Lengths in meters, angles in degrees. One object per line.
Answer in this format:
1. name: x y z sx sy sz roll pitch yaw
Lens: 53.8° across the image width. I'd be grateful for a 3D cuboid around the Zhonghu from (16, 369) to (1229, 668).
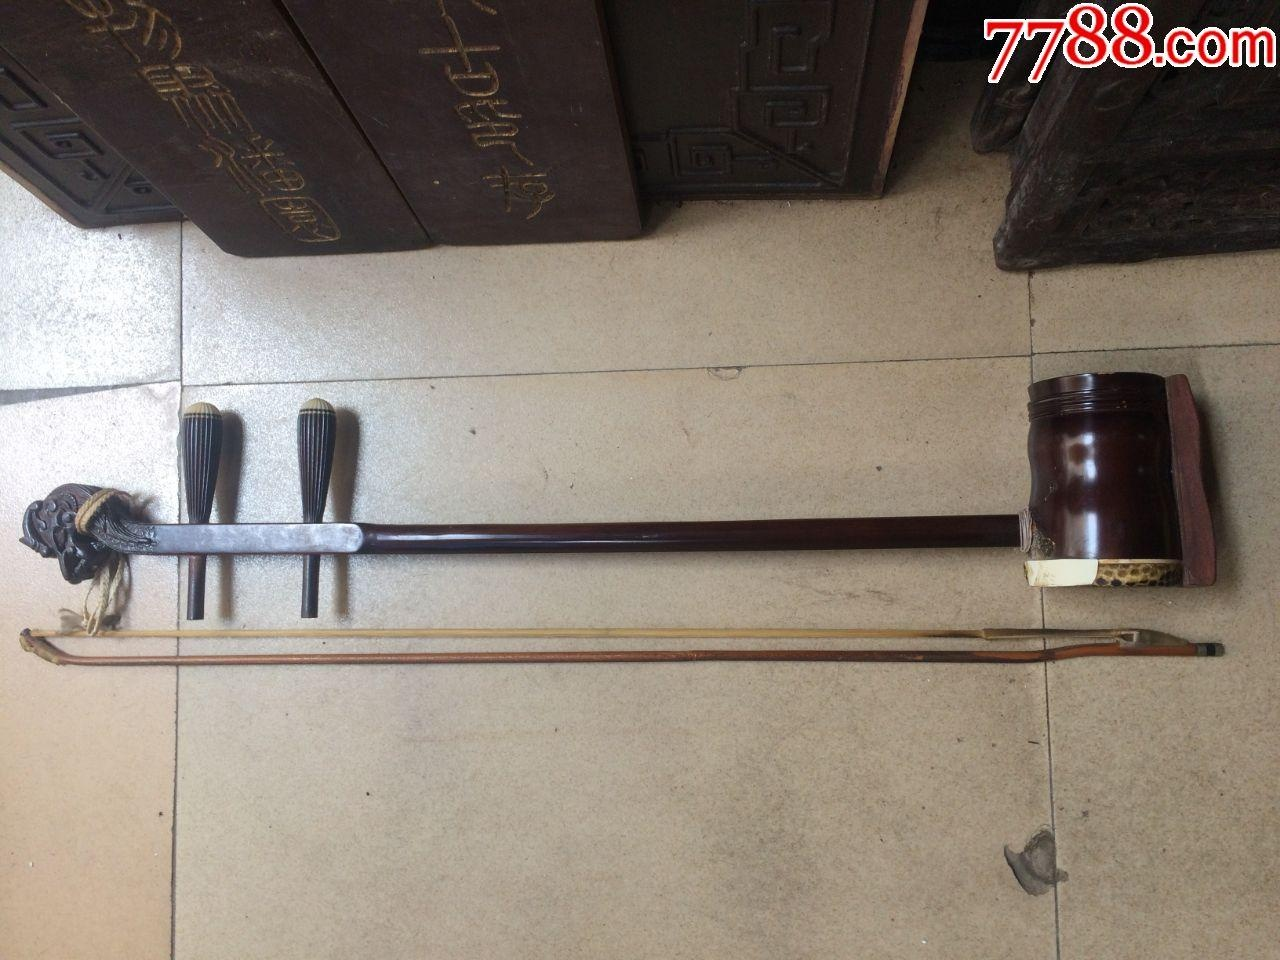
1. Zhonghu: -0.164 0.172 2.652 2.420 0.531 0.749 -2 72 9
